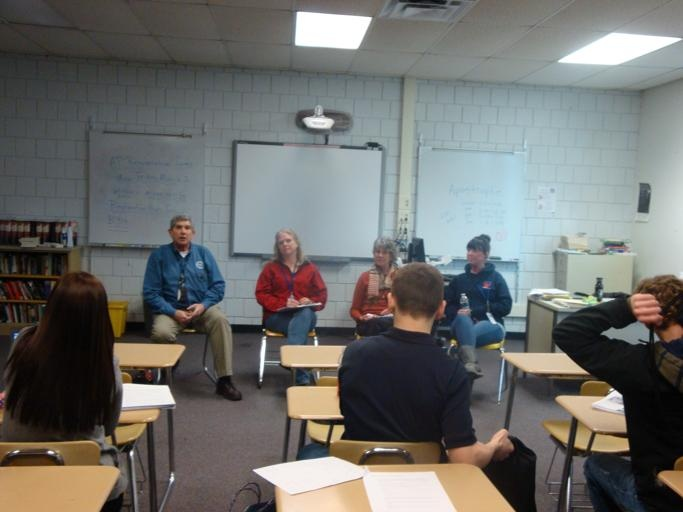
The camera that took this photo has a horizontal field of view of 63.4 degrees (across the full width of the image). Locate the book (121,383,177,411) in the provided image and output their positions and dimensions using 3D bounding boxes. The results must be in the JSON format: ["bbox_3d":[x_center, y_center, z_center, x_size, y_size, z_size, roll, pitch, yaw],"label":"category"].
[{"bbox_3d":[-1.025,0.744,2.913,0.231,0.055,0.237,0,11,-14],"label":"book"}]

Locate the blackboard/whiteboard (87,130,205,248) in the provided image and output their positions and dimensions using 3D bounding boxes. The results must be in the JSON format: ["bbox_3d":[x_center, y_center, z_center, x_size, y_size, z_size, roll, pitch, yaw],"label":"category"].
[{"bbox_3d":[-2.236,-0.781,6.342,1.332,1.304,0.081,-6,18,-41],"label":"blackboard/whiteboard"}]

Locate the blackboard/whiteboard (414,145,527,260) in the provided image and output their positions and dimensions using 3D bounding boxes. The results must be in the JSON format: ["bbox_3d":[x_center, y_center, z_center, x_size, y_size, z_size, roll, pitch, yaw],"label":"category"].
[{"bbox_3d":[1.453,-0.679,6.497,1.379,1.355,0.068,1,4,-1],"label":"blackboard/whiteboard"}]

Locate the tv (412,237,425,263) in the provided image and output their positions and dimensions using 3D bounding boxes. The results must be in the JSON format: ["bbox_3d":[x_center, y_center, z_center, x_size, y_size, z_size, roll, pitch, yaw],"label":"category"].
[{"bbox_3d":[0.797,-0.062,5.781,0.128,0.224,0.236,2,9,4],"label":"tv"}]

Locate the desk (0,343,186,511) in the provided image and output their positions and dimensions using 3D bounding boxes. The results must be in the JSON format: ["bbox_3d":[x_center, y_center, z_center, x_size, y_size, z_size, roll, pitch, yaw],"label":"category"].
[{"bbox_3d":[-1.293,1.075,3.260,1.050,0.772,0.832,2,2,-1],"label":"desk"}]

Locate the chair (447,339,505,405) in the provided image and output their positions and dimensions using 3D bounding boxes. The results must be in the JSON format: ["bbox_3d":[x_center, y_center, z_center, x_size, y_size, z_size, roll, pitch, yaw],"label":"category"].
[{"bbox_3d":[1.297,0.986,5.041,0.637,0.600,0.490,0,-1,0],"label":"chair"}]

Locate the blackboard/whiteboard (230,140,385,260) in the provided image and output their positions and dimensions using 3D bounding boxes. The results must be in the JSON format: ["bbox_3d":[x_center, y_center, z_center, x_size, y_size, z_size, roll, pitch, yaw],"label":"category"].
[{"bbox_3d":[-0.469,-0.689,6.352,1.395,0.998,0.067,1,1,-6],"label":"blackboard/whiteboard"}]

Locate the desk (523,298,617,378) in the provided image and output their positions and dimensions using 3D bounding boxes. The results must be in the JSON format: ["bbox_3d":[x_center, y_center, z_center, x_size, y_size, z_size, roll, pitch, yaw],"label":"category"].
[{"bbox_3d":[2.155,0.594,5.493,0.627,0.918,0.990,1,6,-1],"label":"desk"}]

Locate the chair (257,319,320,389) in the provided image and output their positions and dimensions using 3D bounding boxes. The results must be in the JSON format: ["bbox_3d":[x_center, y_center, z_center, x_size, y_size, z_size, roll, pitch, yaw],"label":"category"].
[{"bbox_3d":[-0.603,0.945,5.153,0.486,0.794,0.577,2,-7,-6],"label":"chair"}]

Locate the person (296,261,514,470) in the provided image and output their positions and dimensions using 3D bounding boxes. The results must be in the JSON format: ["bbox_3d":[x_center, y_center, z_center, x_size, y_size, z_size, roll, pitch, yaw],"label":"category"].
[{"bbox_3d":[0.369,0.503,2.458,0.728,0.867,0.345,4,10,14],"label":"person"}]

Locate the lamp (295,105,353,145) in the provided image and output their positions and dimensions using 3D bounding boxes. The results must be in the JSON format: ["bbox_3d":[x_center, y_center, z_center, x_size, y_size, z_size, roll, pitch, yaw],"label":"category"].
[{"bbox_3d":[-0.187,-1.463,6.112,0.671,0.426,0.770,1,9,-4],"label":"lamp"}]

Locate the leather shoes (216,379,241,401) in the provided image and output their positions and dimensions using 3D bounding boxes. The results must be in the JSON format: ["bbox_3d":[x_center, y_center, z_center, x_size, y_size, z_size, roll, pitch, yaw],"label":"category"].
[{"bbox_3d":[-0.959,1.137,4.704,0.108,0.121,0.288,0,1,-38],"label":"leather shoes"}]

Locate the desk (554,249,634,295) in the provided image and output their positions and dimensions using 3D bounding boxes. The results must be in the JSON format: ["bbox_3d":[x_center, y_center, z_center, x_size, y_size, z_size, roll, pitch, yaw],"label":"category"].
[{"bbox_3d":[2.965,0.150,6.678,0.920,0.849,0.494,0,3,1],"label":"desk"}]
